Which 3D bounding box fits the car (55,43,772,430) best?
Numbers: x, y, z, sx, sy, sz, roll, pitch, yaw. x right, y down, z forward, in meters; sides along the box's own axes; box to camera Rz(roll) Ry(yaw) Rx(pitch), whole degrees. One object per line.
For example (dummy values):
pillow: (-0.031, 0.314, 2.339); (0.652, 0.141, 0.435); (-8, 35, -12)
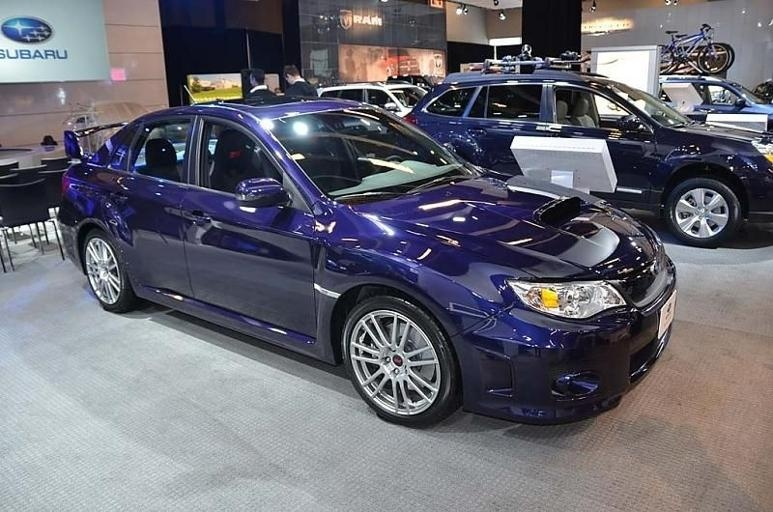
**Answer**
car: (-0.557, -0.140, 3.673); (5.243, 1.397, 2.212); (8, 21, 25)
